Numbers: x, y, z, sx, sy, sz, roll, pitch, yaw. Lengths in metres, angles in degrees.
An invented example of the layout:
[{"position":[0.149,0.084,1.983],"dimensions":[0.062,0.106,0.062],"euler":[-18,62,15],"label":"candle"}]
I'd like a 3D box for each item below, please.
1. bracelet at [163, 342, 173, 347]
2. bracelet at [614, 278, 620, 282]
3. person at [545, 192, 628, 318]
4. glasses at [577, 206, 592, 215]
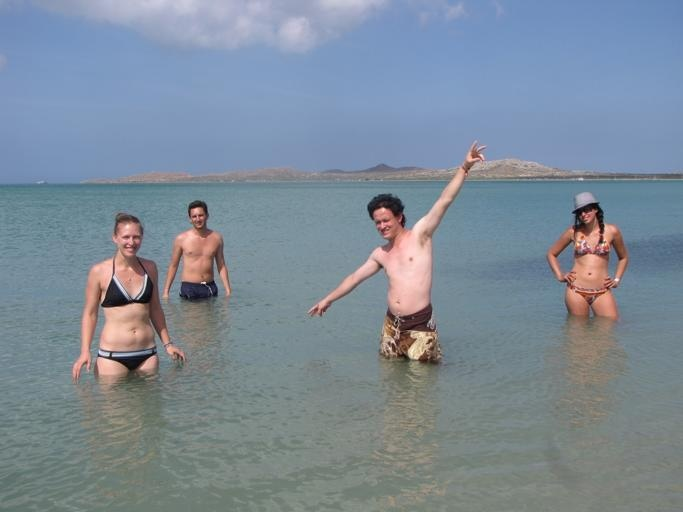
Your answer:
[{"position":[-3.026,1.525,10.389],"dimensions":[0.228,0.048,0.198],"euler":[-1,-1,-2],"label":"bracelet"},{"position":[6.009,0.526,13.072],"dimensions":[0.109,0.021,0.095],"euler":[-5,11,-36],"label":"bracelet"},{"position":[5.532,-0.007,13.422],"dimensions":[1.523,2.851,0.775],"euler":[4,13,22],"label":"person"},{"position":[5.271,-0.997,13.002],"dimensions":[0.287,0.203,0.180],"euler":[3,12,21],"label":"glasses"}]
